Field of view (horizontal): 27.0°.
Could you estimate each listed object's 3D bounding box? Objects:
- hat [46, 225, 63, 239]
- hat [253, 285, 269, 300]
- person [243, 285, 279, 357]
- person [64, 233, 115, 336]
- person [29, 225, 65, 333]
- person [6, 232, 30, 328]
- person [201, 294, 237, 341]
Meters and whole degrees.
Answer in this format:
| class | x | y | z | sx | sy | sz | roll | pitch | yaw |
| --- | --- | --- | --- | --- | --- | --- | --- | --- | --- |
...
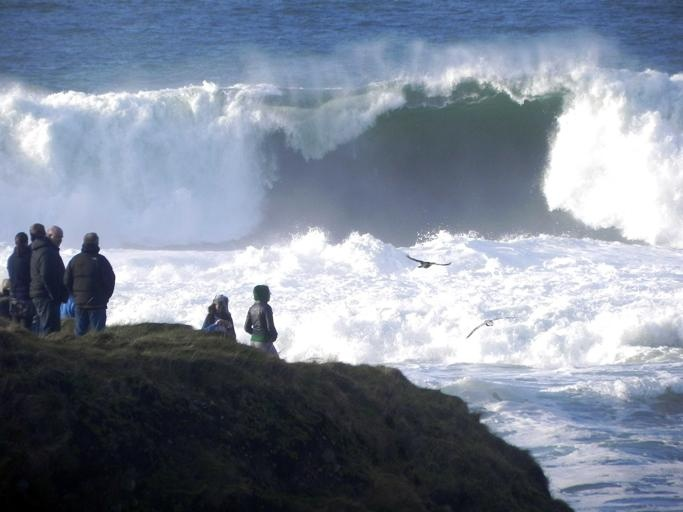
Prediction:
| class | x | y | z | sx | sy | sz | roll | pitch | yaw |
| --- | --- | --- | --- | --- | --- | --- | --- | --- | --- |
| hat | -9.157 | -0.796 | 45.223 | 0.409 | 0.471 | 0.467 | 7 | 0 | -10 |
| hat | -2.587 | 1.153 | 45.402 | 0.466 | 0.462 | 0.442 | -4 | 6 | -6 |
| person | -2.584 | 1.963 | 45.290 | 0.961 | 2.083 | 0.524 | 0 | 5 | -1 |
| person | -7.972 | 0.839 | 44.941 | 1.476 | 3.201 | 0.658 | -1 | 5 | -10 |
| person | -9.344 | 0.700 | 45.067 | 1.111 | 3.443 | 0.519 | -1 | 5 | -8 |
| person | -10.243 | 0.753 | 45.407 | 0.937 | 3.015 | 0.530 | 4 | 7 | 39 |
| person | -3.883 | 1.850 | 44.861 | 0.945 | 1.269 | 0.493 | -1 | 5 | -6 |
